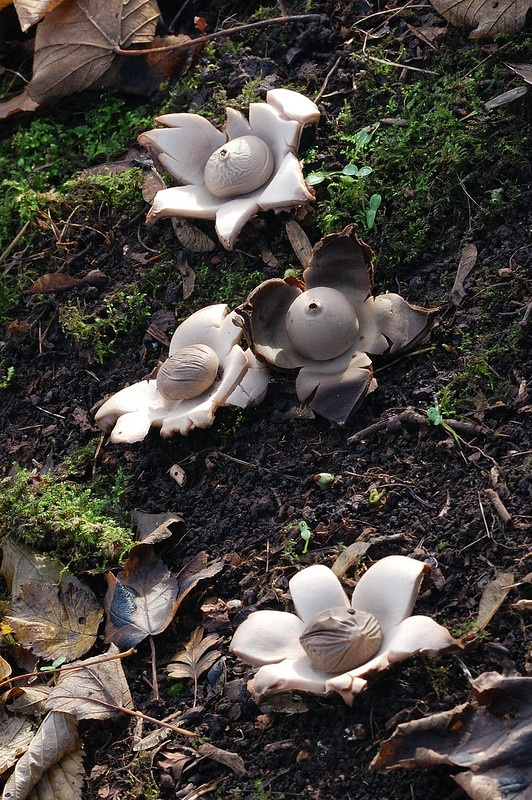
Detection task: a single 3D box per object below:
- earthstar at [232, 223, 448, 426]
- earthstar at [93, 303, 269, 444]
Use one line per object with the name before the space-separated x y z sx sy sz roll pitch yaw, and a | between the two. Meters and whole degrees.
earthstar | 0.246 -0.308 3.348 0.895 0.354 0.619 -31 56 -5
earthstar | -0.303 -0.098 3.594 0.662 0.256 0.796 3 53 52
